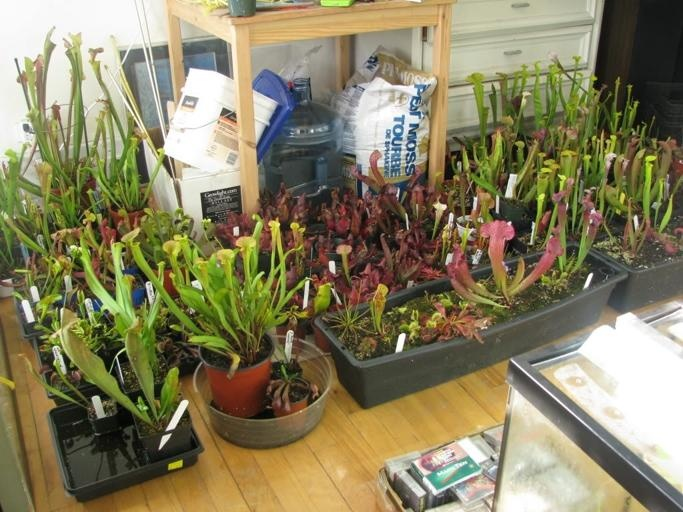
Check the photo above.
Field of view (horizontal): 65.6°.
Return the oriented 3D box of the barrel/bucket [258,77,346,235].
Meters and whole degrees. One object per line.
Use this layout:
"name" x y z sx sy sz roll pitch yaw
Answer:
"barrel/bucket" -0.206 -0.523 2.714 0.416 0.704 0.491 4 21 17
